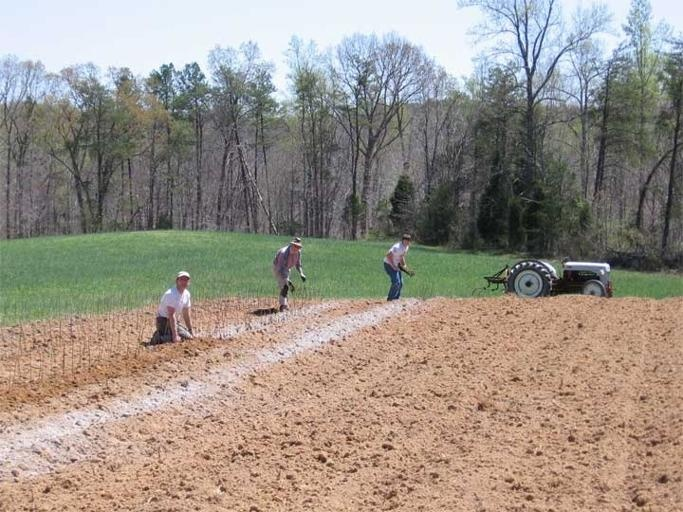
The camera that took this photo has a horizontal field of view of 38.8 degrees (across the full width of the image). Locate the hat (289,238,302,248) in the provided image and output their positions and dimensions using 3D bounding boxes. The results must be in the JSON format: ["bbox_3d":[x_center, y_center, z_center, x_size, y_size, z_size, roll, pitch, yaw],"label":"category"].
[{"bbox_3d":[-1.936,-0.597,42.436,0.428,0.255,0.446,20,-13,0],"label":"hat"}]
